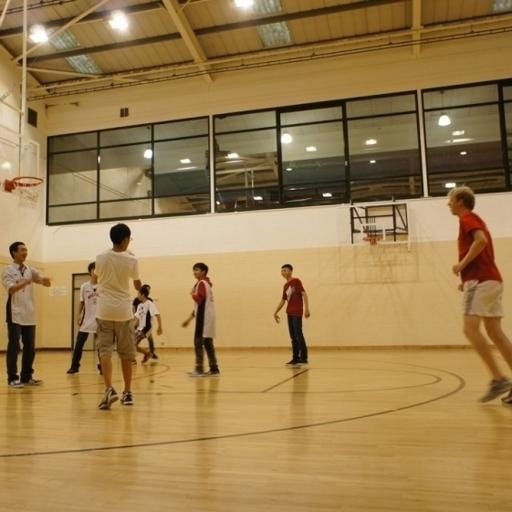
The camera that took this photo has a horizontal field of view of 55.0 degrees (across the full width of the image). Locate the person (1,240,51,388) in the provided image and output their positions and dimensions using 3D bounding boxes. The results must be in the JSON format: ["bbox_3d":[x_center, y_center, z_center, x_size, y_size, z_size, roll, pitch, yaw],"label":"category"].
[{"bbox_3d":[-2.474,0.619,5.268,0.408,1.583,0.705,0,-4,-24],"label":"person"}]

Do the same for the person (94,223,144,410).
[{"bbox_3d":[-1.093,0.455,3.914,0.351,1.454,0.402,0,-4,-18],"label":"person"}]
